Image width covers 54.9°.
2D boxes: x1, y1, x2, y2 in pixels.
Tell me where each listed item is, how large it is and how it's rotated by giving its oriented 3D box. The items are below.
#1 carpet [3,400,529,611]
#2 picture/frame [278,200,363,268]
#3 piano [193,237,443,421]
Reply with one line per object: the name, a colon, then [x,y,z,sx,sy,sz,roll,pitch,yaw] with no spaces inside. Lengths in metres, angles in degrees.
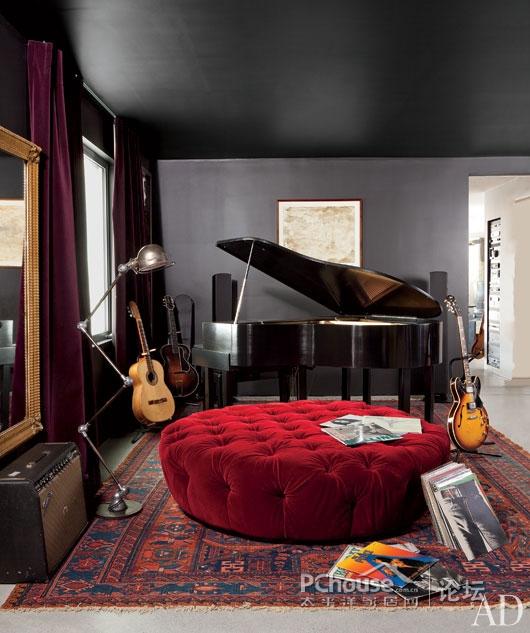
carpet: [0.386,0.930,2.610,2.642,0.044,1.873,-1,2,2]
picture/frame: [0.556,-0.802,4.853,0.881,0.713,0.056,0,4,4]
piano: [0.375,0.060,3.906,1.797,1.473,1.231,0,1,-8]
